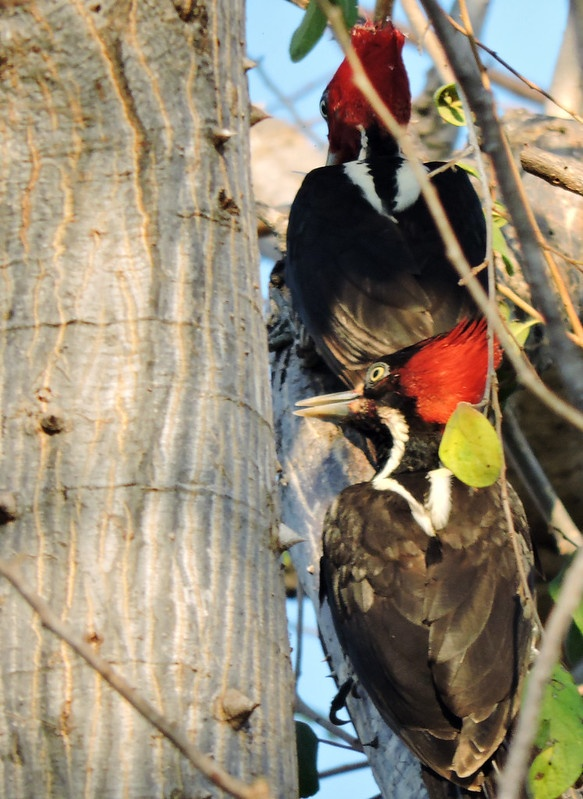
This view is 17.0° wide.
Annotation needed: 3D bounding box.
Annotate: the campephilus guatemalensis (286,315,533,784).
[{"bbox_3d":[0.262,0.306,4.118,0.457,0.919,0.823,-6,-2,2],"label":"campephilus guatemalensis"}]
